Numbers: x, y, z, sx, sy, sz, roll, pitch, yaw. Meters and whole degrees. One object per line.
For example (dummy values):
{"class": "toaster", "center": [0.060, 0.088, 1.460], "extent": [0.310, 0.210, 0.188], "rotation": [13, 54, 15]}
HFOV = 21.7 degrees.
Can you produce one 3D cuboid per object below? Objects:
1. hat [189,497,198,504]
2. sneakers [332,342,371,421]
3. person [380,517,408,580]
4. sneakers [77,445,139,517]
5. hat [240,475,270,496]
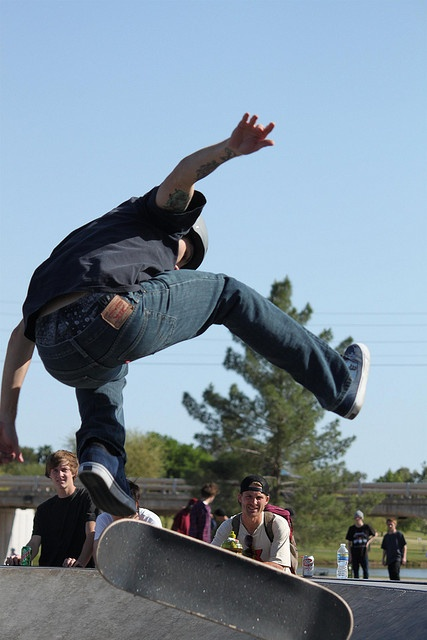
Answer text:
{"class": "hat", "center": [-0.148, 1.427, 8.776], "extent": [0.046, 0.052, 0.053], "rotation": [16, 9, 38]}
{"class": "sneakers", "center": [0.623, 0.280, 5.078], "extent": [0.199, 0.440, 0.153], "rotation": [27, -51, -16]}
{"class": "person", "center": [2.126, 2.676, 13.033], "extent": [0.308, 0.667, 0.910], "rotation": [3, -7, 9]}
{"class": "sneakers", "center": [-0.422, 0.707, 4.776], "extent": [0.147, 0.172, 0.398], "rotation": [-27, -57, 15]}
{"class": "hat", "center": [0.219, 0.833, 5.675], "extent": [0.105, 0.069, 0.134], "rotation": [6, 7, -35]}
